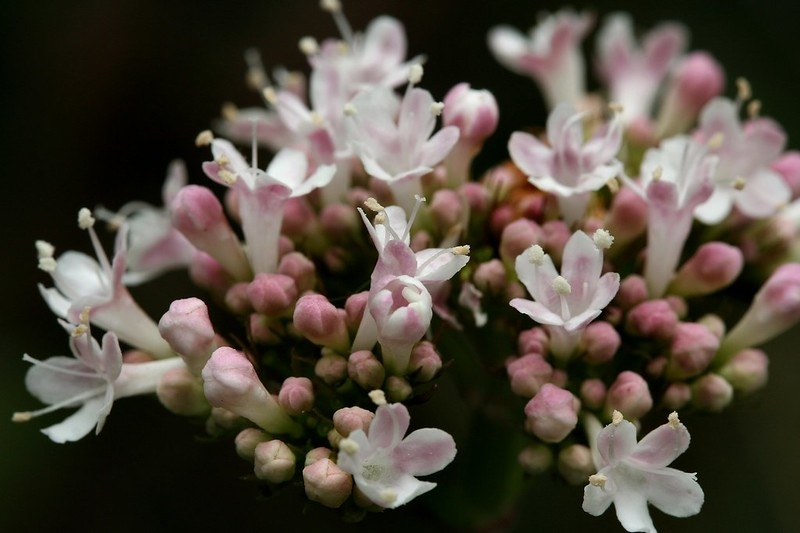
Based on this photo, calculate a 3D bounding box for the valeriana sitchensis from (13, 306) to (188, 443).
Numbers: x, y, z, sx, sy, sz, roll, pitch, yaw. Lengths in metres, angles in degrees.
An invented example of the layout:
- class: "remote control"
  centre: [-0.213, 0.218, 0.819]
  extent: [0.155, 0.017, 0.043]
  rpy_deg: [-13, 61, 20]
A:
- class: "valeriana sitchensis"
  centre: [-1.444, 0.512, 4.335]
  extent: [0.799, 0.582, 0.414]
  rpy_deg: [-4, 23, -4]
